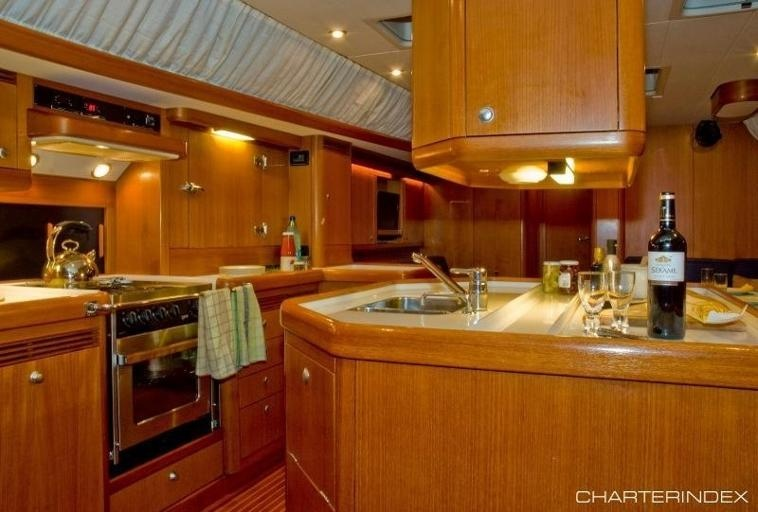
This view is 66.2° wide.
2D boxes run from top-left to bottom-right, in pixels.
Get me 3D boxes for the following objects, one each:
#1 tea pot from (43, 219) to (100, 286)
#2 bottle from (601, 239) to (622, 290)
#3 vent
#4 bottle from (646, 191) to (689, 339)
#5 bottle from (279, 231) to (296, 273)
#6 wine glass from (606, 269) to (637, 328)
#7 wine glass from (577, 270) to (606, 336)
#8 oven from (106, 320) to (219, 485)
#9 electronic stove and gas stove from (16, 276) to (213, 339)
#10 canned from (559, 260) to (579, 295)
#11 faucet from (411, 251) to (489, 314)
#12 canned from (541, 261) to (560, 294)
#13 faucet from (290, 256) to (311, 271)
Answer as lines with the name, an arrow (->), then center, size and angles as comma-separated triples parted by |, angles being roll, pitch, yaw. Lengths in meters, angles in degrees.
tea pot -> -2.036, 0.011, 3.858 | 0.290, 0.477, 0.340 | -3, -2, 34
bottle -> 1.286, 0.083, 3.221 | 0.093, 0.333, 0.095 | -2, -2, 0
vent -> -1.830, -0.810, 3.854 | 0.912, 0.588, 0.614 | -12, 14, -38
bottle -> 1.184, 0.044, 2.394 | 0.141, 0.590, 0.154 | -3, 10, 0
bottle -> -0.782, -0.045, 4.979 | 0.139, 0.314, 0.220 | -5, 11, -9
wine glass -> 1.073, 0.197, 2.606 | 0.116, 0.273, 0.366 | 1, 12, 23
wine glass -> 0.982, 0.190, 2.685 | 0.113, 0.307, 0.116 | 9, 31, 37
oven -> -1.520, 0.812, 3.691 | 0.688, 1.076, 0.793 | -2, -2, 23
electronic stove and gas stove -> -1.656, 0.361, 3.613 | 0.823, 0.242, 0.845 | -1, 0, -5
canned -> 1.197, 0.138, 3.683 | 0.136, 0.206, 0.141 | 1, 4, 11
faucet -> 0.547, 0.162, 3.344 | 0.184, 0.377, 0.688 | -5, -4, 34
canned -> 1.094, 0.132, 3.714 | 0.143, 0.190, 0.091 | 5, 13, 38
faucet -> -0.686, 0.065, 5.065 | 0.139, 0.102, 0.083 | 2, -3, -42
